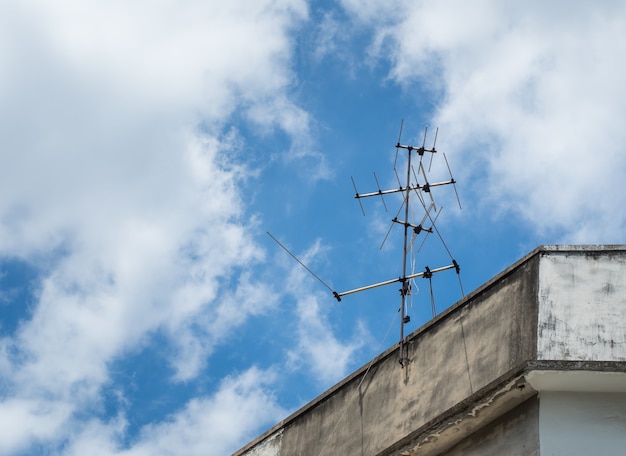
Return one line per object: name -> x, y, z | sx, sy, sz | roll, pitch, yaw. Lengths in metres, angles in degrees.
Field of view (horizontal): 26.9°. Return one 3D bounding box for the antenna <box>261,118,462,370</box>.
antenna -> 0.364, 0.058, 4.697 | 0.578, 0.613, 0.700 | 6, -83, 18
